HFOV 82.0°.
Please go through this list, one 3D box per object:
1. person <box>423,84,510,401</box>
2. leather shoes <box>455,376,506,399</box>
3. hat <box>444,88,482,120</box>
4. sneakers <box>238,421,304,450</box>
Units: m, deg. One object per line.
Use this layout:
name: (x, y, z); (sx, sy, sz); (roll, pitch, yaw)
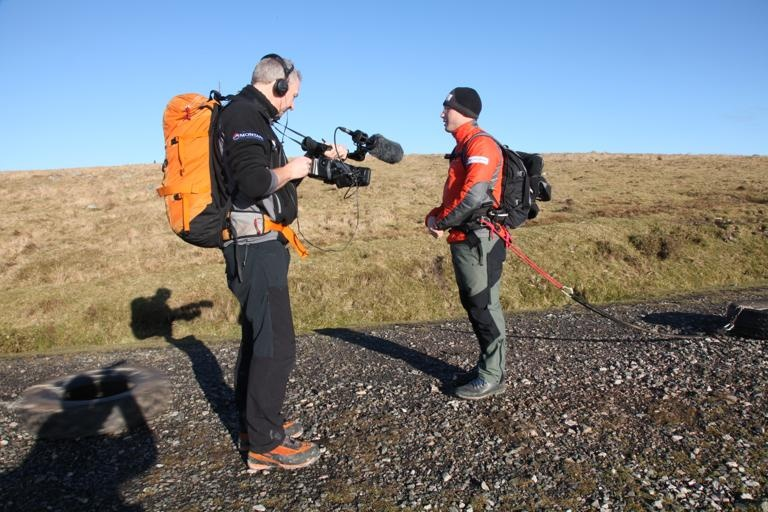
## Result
person: (1.023, -0.127, 5.262); (0.864, 3.592, 0.912); (-6, 16, -11)
leather shoes: (1.125, 1.572, 5.411); (0.622, 0.232, 0.233); (-1, 3, -8)
hat: (0.882, -1.869, 5.315); (0.440, 0.307, 0.390); (3, 15, -7)
sneakers: (-1.291, 1.879, 4.621); (0.594, 0.247, 0.194); (-15, -2, 27)
